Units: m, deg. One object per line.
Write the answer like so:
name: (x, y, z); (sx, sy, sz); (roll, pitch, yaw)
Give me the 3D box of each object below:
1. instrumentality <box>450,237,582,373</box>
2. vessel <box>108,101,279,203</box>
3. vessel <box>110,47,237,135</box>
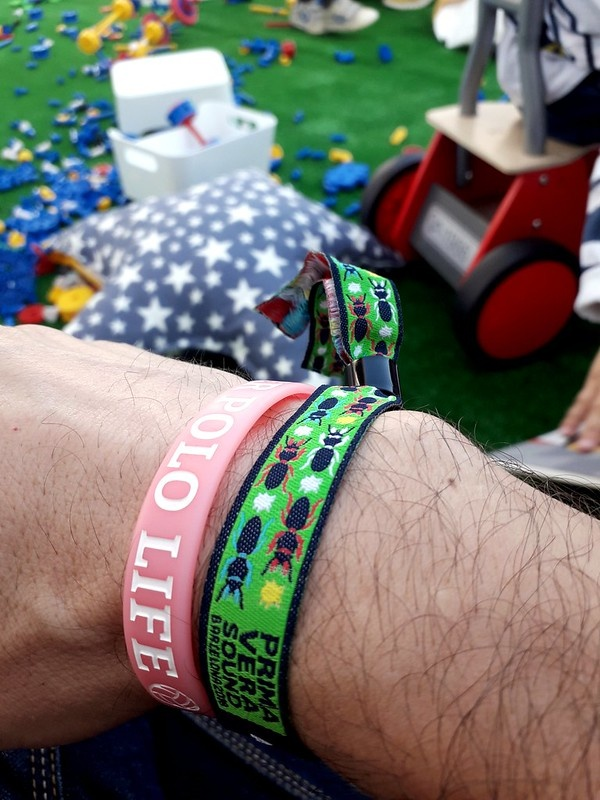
instrumentality: (0.357, -0.156, 1.097); (0.201, 0.179, 0.065); (-38, 53, -7)
vessel: (-0.178, -0.494, 1.382); (0.340, 0.141, 0.245); (-23, 41, -27)
vessel: (-0.301, -0.721, 1.536); (0.332, 0.146, 0.223); (-10, 44, -9)
